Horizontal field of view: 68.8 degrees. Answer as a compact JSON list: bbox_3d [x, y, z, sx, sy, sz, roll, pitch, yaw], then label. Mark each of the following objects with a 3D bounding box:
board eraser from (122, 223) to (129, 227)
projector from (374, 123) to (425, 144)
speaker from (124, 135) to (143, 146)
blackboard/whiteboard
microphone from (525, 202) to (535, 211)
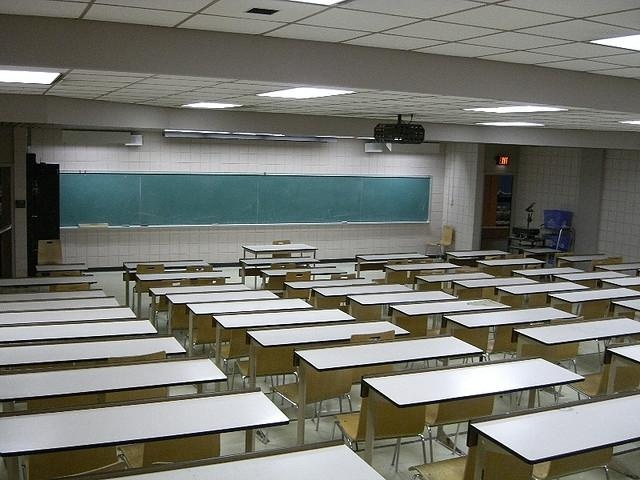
[{"bbox_3d":[-4.714,-0.369,11.442,0.154,0.094,0.050,-2,4,-15],"label":"board eraser"},{"bbox_3d":[1.179,-1.679,7.274,0.733,0.386,0.615,-2,4,-4],"label":"projector"},{"bbox_3d":[-4.386,-2.388,11.186,0.311,0.202,0.290,-2,5,-20],"label":"speaker"},{"bbox_3d":[-1.730,-1.067,12.450,9.130,1.411,0.788,-2,4,-15],"label":"blackboard/whiteboard"},{"bbox_3d":[6.080,-0.953,13.548,0.280,0.271,0.741,0,4,23],"label":"microphone"}]
